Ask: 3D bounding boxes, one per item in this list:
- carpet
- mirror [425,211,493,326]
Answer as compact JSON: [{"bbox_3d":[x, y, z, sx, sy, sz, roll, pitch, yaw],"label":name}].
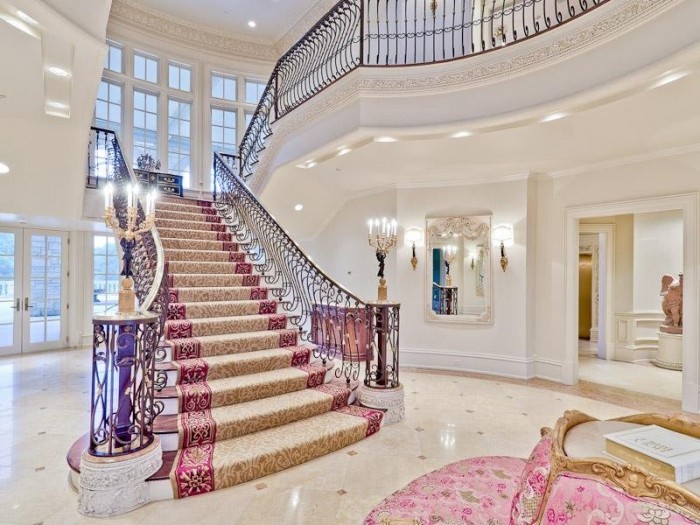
[{"bbox_3d":[-2.004,0.865,6.639,1.772,1.973,4.963,-4,9,-32],"label":"carpet"},{"bbox_3d":[1.879,0.119,7.875,1.143,1.862,0.439,2,8,10],"label":"mirror"}]
